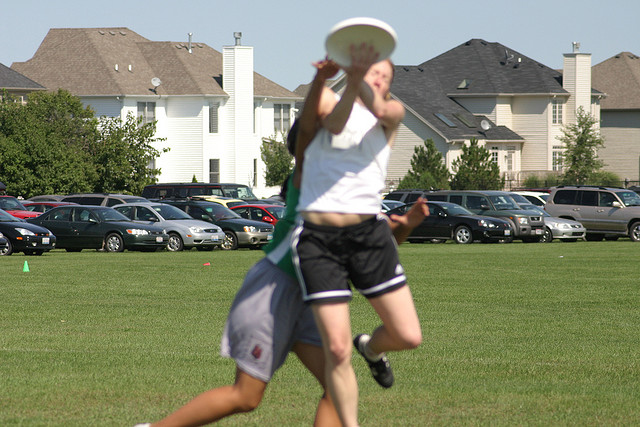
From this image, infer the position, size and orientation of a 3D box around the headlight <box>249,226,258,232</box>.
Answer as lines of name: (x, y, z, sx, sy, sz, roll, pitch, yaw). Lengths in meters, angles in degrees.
headlight: (-2.353, 0.542, 34.117, 0.162, 0.183, 0.053, -2, -2, -1)

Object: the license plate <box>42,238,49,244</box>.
license plate: (-8.344, 0.833, 29.904, 0.292, 0.203, 0.133, 1, 0, -2)

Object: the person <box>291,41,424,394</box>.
person: (0.393, 0.087, 10.067, 1.171, 3.418, 0.872, 1, 0, -40)

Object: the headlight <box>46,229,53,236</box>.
headlight: (-8.386, 0.599, 30.633, 0.154, 0.194, 0.081, -14, 23, 38)

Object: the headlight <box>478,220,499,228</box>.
headlight: (5.900, 0.369, 34.845, 0.704, 0.262, 0.142, 1, 0, 5)

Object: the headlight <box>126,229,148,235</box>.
headlight: (-6.006, 0.606, 32.328, 0.647, 0.151, 0.157, 1, 0, -11)

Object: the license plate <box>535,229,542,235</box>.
license plate: (7.849, 0.655, 35.738, 0.356, 0.249, 0.150, 1, 4, 4)

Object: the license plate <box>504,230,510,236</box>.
license plate: (6.544, 0.681, 34.808, 0.247, 0.188, 0.053, 2, -7, 9)

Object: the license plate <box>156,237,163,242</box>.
license plate: (-5.327, 0.869, 32.553, 0.266, 0.135, 0.031, 1, 0, -44)
